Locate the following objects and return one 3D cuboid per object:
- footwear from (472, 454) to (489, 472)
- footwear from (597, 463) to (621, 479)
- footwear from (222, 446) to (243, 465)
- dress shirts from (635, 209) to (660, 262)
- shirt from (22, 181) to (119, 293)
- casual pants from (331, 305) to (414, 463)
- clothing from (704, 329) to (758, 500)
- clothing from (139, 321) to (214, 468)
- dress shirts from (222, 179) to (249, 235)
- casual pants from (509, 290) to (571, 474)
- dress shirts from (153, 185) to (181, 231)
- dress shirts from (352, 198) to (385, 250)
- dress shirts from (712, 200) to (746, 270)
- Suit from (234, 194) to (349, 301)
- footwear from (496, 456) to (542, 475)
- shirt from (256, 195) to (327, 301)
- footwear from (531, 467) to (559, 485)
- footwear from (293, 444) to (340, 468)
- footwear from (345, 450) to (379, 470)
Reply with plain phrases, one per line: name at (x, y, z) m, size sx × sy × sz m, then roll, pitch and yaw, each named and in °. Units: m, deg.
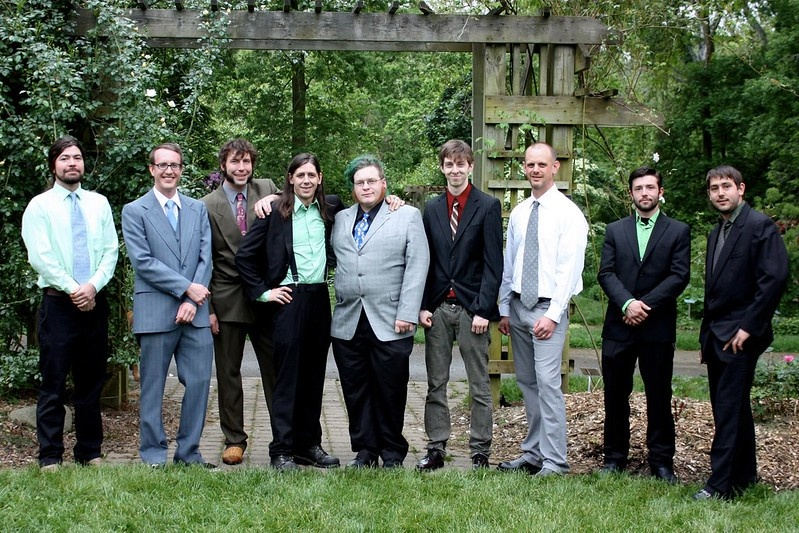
footwear at (0.723, 1.777, 7.217) m, size 0.167 × 0.155 × 0.103 m, roll 2°, pitch -6°, yaw 1°
footwear at (1.833, 1.811, 7.041) m, size 0.252 × 0.161 × 0.082 m, roll 5°, pitch 24°, yaw 8°
footwear at (-1.535, 1.746, 7.384) m, size 0.227 × 0.159 × 0.172 m, roll -2°, pitch 3°, yaw -32°
dress shirts at (2.263, -0.285, 7.282) m, size 0.229 × 0.447 × 0.095 m, roll 8°, pitch -8°, yaw 36°
shirt at (-2.905, -0.234, 7.079) m, size 0.623 × 0.956 × 0.859 m, roll 4°, pitch 3°, yaw 34°
casual pants at (-0.250, 1.076, 7.162) m, size 0.711 × 1.391 × 0.235 m, roll 0°, pitch 3°, yaw 0°
clothing at (2.818, 1.263, 6.738) m, size 0.430 × 1.300 × 0.465 m, roll 0°, pitch 3°, yaw 16°
clothing at (-1.991, 1.143, 7.057) m, size 0.644 × 1.242 × 0.353 m, roll -1°, pitch 3°, yaw -13°
dress shirts at (-1.568, -0.570, 7.589) m, size 0.307 × 0.475 × 0.109 m, roll -12°, pitch -4°, yaw -19°
casual pants at (1.250, 1.060, 7.196) m, size 0.557 × 1.539 × 0.363 m, roll 0°, pitch 3°, yaw 17°
dress shirts at (-2.096, -0.532, 7.172) m, size 0.212 × 0.413 × 0.077 m, roll -4°, pitch -22°, yaw -39°
dress shirts at (-0.326, -0.382, 7.242) m, size 0.243 × 0.416 × 0.102 m, roll 7°, pitch -5°, yaw 13°
dress shirts at (2.793, -0.261, 6.890) m, size 0.135 × 0.524 × 0.378 m, roll 23°, pitch -17°, yaw -15°
Suit at (-0.971, -0.152, 7.207) m, size 0.921 × 0.785 × 0.409 m, roll 8°, pitch 5°, yaw -24°
footwear at (1.088, 1.815, 7.187) m, size 0.414 × 0.153 × 0.145 m, roll 8°, pitch -7°, yaw -8°
shirt at (-0.925, -0.189, 7.389) m, size 0.684 × 0.893 × 0.307 m, roll 1°, pitch 3°, yaw -17°
footwear at (1.305, 1.820, 6.957) m, size 0.236 × 0.064 × 0.231 m, roll 0°, pitch 3°, yaw 14°
footwear at (-0.763, 1.748, 7.309) m, size 0.404 × 0.161 × 0.181 m, roll 2°, pitch -3°, yaw 5°
footwear at (-0.332, 1.739, 7.045) m, size 0.272 × 0.148 × 0.318 m, roll -1°, pitch 3°, yaw -5°
